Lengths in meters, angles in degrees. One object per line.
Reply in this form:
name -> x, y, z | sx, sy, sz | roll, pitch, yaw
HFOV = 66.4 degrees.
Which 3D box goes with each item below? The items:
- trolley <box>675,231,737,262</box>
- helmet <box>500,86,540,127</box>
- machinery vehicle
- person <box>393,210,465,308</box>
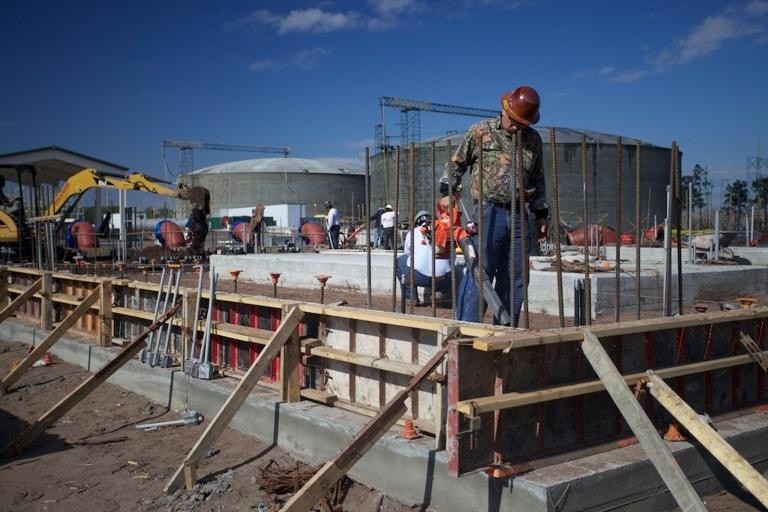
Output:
trolley -> 7.984, -0.247, 14.441 | 2.490, 0.704, 0.894 | -4, 6, -44
helmet -> 1.472, -1.619, 6.251 | 0.354, 0.376, 0.347 | 1, 5, 12
machinery vehicle -> -10.729, -1.582, 21.662 | 7.947, 3.157, 4.674 | 3, 5, 34
person -> 0.544, -0.050, 9.473 | 0.864, 1.539, 1.007 | 4, -3, 12
